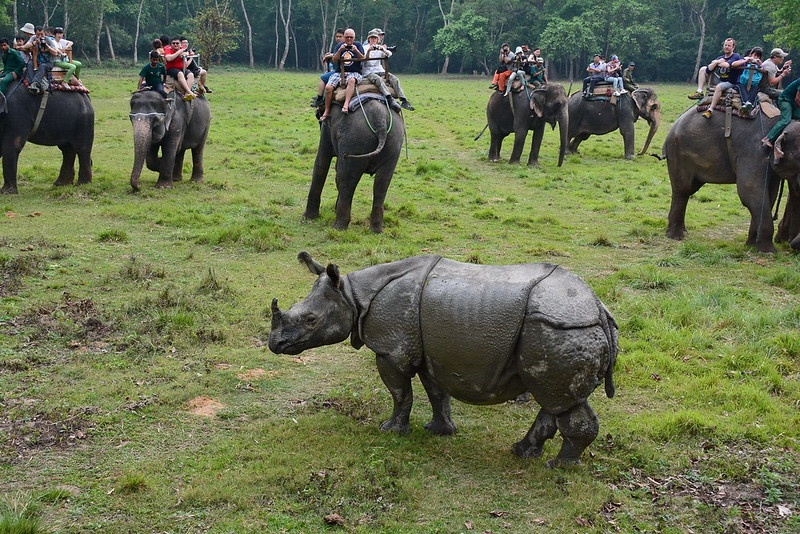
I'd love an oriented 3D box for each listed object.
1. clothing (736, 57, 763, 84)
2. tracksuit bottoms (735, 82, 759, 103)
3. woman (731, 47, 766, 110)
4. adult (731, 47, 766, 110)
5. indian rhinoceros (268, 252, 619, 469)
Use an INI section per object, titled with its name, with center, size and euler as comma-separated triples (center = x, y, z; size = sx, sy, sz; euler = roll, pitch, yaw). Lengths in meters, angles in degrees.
[clothing]
center = 6.415, -3.573, 14.805
size = 0.498, 0.480, 0.328
euler = 5, -6, 31
[tracksuit bottoms]
center = 6.349, -3.179, 14.786
size = 0.287, 0.163, 0.460
euler = 6, 52, 7
[woman]
center = 6.576, -3.499, 15.069
size = 0.518, 1.180, 0.498
euler = -1, 33, 6
[adult]
center = 6.505, -3.486, 15.070
size = 0.512, 1.159, 0.509
euler = 19, 41, 32
[indian rhinoceros]
center = 0.464, 1.024, 9.975
size = 4.301, 2.247, 1.529
euler = 5, 5, 19
